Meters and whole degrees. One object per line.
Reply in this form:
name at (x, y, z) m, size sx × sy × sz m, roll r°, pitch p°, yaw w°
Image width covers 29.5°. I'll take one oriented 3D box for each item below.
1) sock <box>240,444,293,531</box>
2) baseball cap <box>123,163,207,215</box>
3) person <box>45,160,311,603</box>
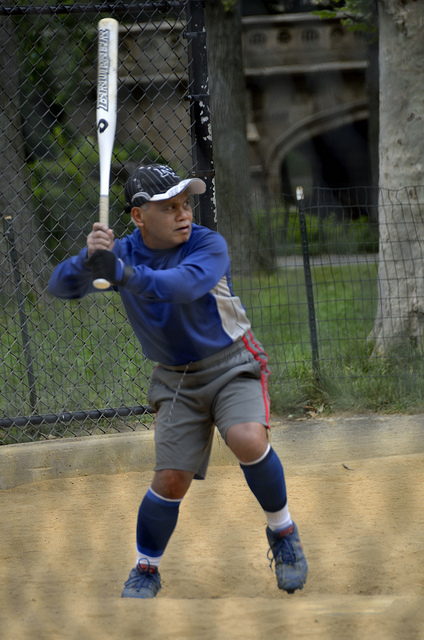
sock at (0.203, 0.626, 2.983) m, size 0.187 × 0.353 × 0.100 m, roll -5°, pitch 13°, yaw -4°
baseball cap at (-0.175, -0.481, 2.955) m, size 0.258 × 0.174 × 0.281 m, roll -10°, pitch 14°, yaw -30°
person at (-0.096, 0.248, 3.049) m, size 0.856 × 1.649 × 0.934 m, roll -4°, pitch 13°, yaw 0°
